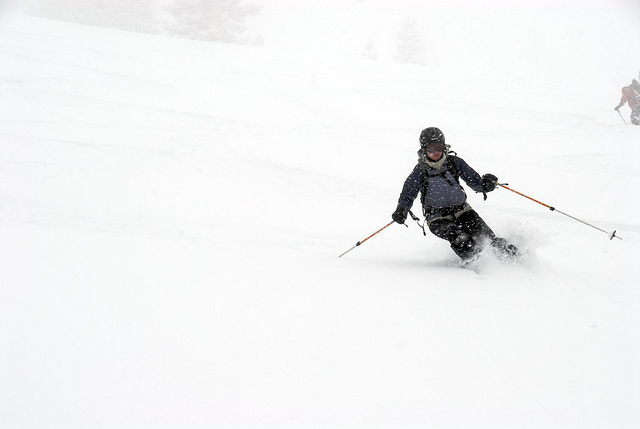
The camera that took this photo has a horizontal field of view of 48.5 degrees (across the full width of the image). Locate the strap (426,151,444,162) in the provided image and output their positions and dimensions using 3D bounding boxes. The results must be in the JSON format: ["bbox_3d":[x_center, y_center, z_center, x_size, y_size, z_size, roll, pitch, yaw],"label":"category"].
[{"bbox_3d":[3.597,-1.794,22.092,0.560,0.297,0.192,3,36,-14],"label":"strap"}]
